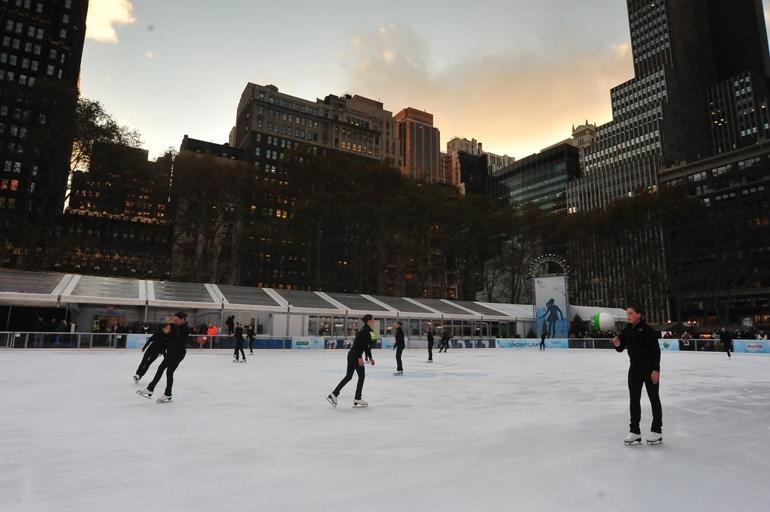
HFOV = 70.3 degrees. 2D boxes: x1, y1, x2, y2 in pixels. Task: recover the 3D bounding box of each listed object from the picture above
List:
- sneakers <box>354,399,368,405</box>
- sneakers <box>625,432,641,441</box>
[{"bbox_3d":[-0.691,4.062,15.116,0.414,0.198,0.169,0,-5,1],"label":"sneakers"},{"bbox_3d":[5.406,4.051,12.101,0.385,0.204,0.143,3,-11,-10],"label":"sneakers"}]
